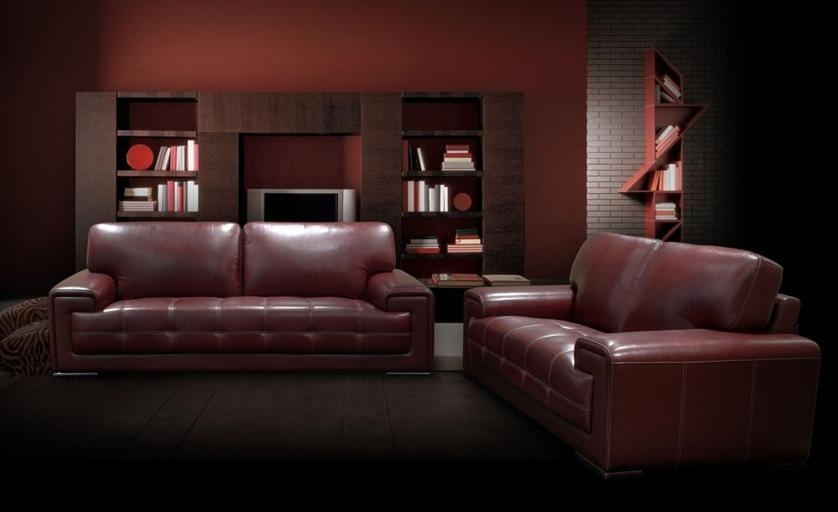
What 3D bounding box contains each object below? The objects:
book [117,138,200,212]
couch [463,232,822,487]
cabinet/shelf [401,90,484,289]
[{"bbox_3d":[-3.042,-0.938,7.368,1.058,0.832,0.316,0,-1,-1],"label":"book"},{"bbox_3d":[1.423,0.652,4.443,1.653,1.248,2.656,1,2,-12],"label":"couch"},{"bbox_3d":[0.270,-0.621,7.596,1.027,2.256,0.275,-6,26,-8],"label":"cabinet/shelf"}]
